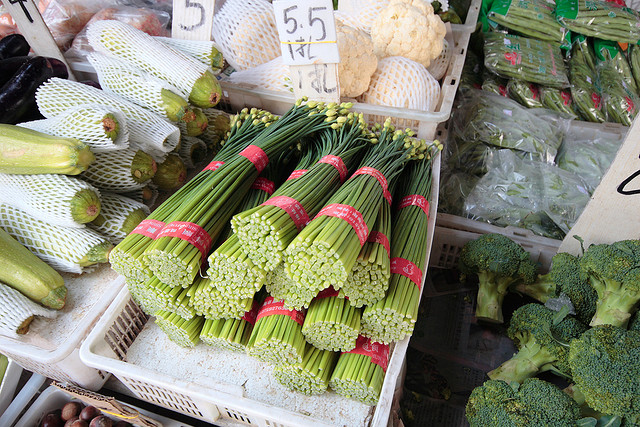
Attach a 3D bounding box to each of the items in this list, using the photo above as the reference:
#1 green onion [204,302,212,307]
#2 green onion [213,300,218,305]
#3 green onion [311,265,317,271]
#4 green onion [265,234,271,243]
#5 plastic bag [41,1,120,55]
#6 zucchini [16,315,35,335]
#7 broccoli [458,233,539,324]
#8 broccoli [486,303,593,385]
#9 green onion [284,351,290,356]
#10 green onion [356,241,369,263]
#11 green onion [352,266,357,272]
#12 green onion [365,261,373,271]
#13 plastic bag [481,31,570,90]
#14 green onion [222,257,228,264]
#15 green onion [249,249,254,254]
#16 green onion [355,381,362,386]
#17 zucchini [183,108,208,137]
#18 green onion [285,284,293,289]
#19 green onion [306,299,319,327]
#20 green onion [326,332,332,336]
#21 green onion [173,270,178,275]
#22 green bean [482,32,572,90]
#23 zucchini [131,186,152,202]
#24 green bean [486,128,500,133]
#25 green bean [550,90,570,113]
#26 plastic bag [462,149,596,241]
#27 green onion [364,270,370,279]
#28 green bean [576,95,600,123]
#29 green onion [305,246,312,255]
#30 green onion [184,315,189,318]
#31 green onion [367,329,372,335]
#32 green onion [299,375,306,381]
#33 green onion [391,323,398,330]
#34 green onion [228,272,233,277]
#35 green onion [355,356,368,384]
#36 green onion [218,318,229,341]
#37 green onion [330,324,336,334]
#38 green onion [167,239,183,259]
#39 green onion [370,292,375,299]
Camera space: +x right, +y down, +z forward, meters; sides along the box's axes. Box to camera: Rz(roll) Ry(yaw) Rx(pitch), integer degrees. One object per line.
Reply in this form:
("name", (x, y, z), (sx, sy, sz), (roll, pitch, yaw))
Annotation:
("green onion", (-0.503, 0.408, 1.984), (0.024, 0.027, 0.011), (6, 49, 8))
("green onion", (-0.463, 0.391, 1.968), (0.022, 0.005, 0.023), (7, 91, -10))
("green onion", (-0.024, 0.222, 1.827), (0.025, 0.026, 0.010), (3, 4, 10))
("green onion", (-0.219, 0.104, 1.854), (0.015, 0.011, 0.033), (10, 69, -1))
("plastic bag", (-1.702, -1.368, 3.102), (0.370, 0.123, 0.437), (39, 67, -13))
("zucchini", (-1.397, 0.524, 2.092), (0.024, 0.075, 0.069), (45, 49, 7))
("broccoli", (1.117, 0.412, 2.804), (0.436, 0.389, 0.523), (19, 85, -20))
("broccoli", (1.195, 0.729, 2.549), (0.530, 0.281, 0.405), (-39, 79, 7))
("green onion", (-0.145, 0.618, 1.961), (0.023, 0.029, 0.008), (1, 49, 4))
("green onion", (0.182, 0.165, 1.884), (0.025, 0.025, 0.108), (0, 44, 33))
("green onion", (0.149, 0.235, 1.882), (0.019, 0.025, 0.014), (6, 49, 9))
("green onion", (0.206, 0.222, 1.869), (0.029, 0.029, 0.019), (3, 49, 6))
("plastic bag", (1.608, -1.154, 3.526), (0.547, 0.118, 0.485), (12, 66, -2))
("green onion", (-0.404, 0.198, 1.884), (0.019, 0.005, 0.019), (-27, 89, 6))
("green onion", (-0.289, 0.161, 1.883), (0.020, 0.015, 0.012), (-1, 49, 3))
("green onion", (0.171, 0.748, 1.953), (0.030, 0.034, 0.009), (-1, 48, 2))
("zucchini", (-0.684, -0.500, 2.496), (0.136, 0.108, 0.111), (-43, 76, -7))
("green onion", (-0.138, 0.322, 1.940), (0.030, 0.023, 0.013), (7, 50, 9))
("green onion", (-0.032, 0.434, 1.965), (0.021, 0.030, 0.133), (20, 58, 10))
("green onion", (0.042, 0.528, 1.951), (0.017, 0.010, 0.007), (2, 6, 8))
("green onion", (-0.629, 0.255, 1.928), (0.020, 0.006, 0.020), (5, 90, -13))
("green bean", (1.621, -1.162, 3.544), (0.584, 0.125, 0.459), (14, 69, 0))
("zucchini", (-0.998, -0.115, 2.485), (0.067, 0.080, 0.078), (7, 18, 5))
("green bean", (1.214, -0.576, 3.094), (0.080, 0.019, 0.026), (13, 51, 14))
("green bean", (1.848, -0.858, 3.422), (0.031, 0.049, 0.219), (-32, 78, -7))
("plastic bag", (1.324, -0.134, 2.922), (0.689, 0.206, 0.533), (28, 82, 17))
("green onion", (0.202, 0.260, 1.887), (0.017, 0.010, 0.031), (30, 69, 14))
("green bean", (2.082, -0.810, 3.433), (0.038, 0.265, 0.039), (-28, 7, 34))
("green onion", (-0.044, 0.150, 1.807), (0.020, 0.029, 0.012), (18, 30, 17))
("green onion", (-0.610, 0.468, 2.022), (0.018, 0.021, 0.004), (6, 49, 8))
("green onion", (0.225, 0.532, 1.994), (0.020, 0.020, 0.013), (-1, 49, 2))
("green onion", (-0.080, 0.741, 1.998), (0.021, 0.022, 0.011), (1, 44, 16))
("green onion", (0.324, 0.494, 1.949), (0.019, 0.011, 0.025), (15, 41, 31))
("green onion", (-0.384, 0.263, 1.911), (0.020, 0.021, 0.011), (-5, 49, -1))
("green onion", (0.188, 0.684, 1.967), (0.022, 0.029, 0.138), (39, 52, -18))
("green onion", (-0.441, 0.531, 2.070), (0.019, 0.024, 0.116), (21, 62, 22))
("green onion", (0.058, 0.503, 1.936), (0.025, 0.049, 0.014), (0, 49, 3))
("green onion", (-0.619, 0.159, 1.914), (0.022, 0.024, 0.106), (27, 60, -4))
("green onion", (0.227, 0.349, 1.903), (0.018, 0.025, 0.007), (4, 5, 14))
